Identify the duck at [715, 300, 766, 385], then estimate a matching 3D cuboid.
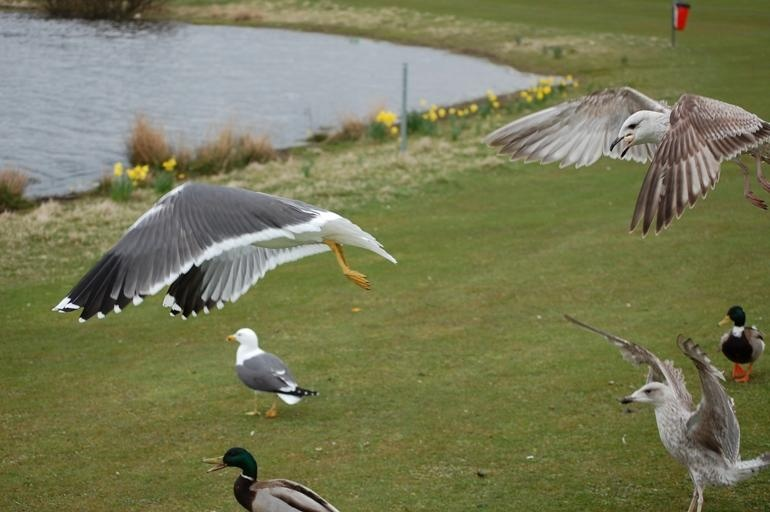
[{"bbox_3d":[4.251,1.066,16.479,0.529,0.796,1.042,-3,8,32],"label":"duck"}]
